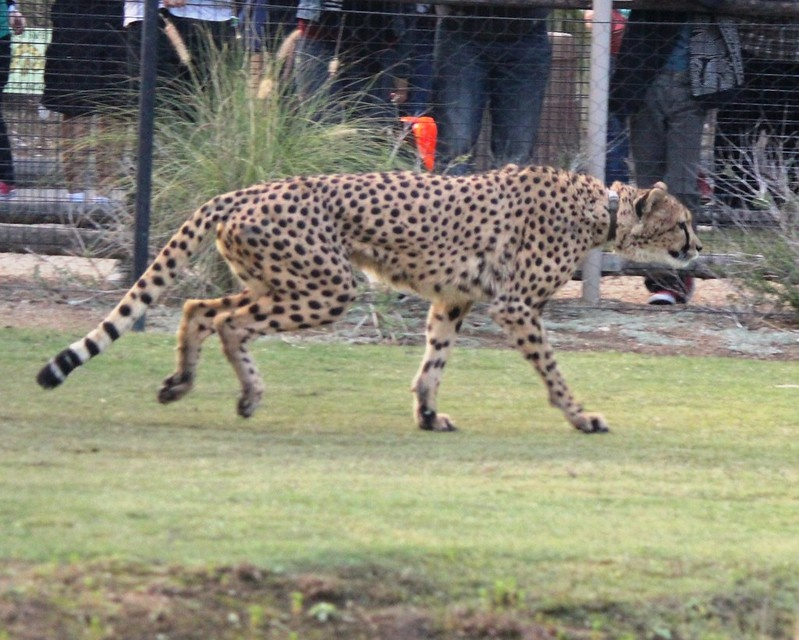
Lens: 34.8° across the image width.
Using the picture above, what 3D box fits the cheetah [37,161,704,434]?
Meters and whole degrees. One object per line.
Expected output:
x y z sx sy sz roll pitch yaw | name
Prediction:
-0.039 -0.128 6.071 2.942 1.253 0.667 1 11 -7 | cheetah

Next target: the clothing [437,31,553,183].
0.600 -1.482 8.567 0.757 0.895 0.233 4 11 0 | clothing
